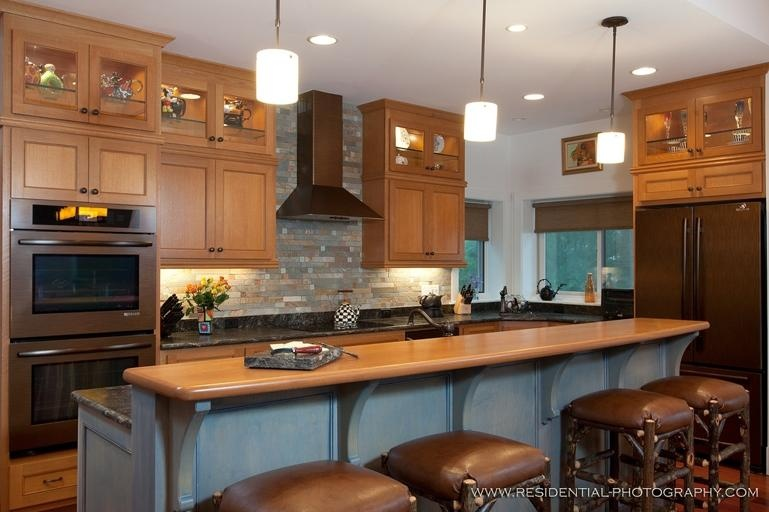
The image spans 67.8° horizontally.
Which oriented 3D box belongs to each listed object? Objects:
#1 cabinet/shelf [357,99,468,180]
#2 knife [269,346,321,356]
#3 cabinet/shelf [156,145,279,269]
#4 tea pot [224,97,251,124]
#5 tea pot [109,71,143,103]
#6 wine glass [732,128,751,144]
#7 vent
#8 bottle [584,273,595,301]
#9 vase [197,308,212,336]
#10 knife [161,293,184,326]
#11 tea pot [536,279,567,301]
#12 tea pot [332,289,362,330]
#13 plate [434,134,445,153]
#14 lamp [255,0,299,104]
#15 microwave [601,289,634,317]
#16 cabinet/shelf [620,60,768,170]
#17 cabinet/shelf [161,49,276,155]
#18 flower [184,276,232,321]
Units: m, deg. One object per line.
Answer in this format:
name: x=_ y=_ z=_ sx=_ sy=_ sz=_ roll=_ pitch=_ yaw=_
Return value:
cabinet/shelf: x=0.253 y=-1.289 z=6.240 sx=0.989 sy=0.566 sz=0.343 roll=0 pitch=-1 yaw=-38
knife: x=-0.451 y=0.485 z=2.951 sx=0.255 sy=0.039 sz=0.086 roll=-2 pitch=0 yaw=-8
cabinet/shelf: x=-1.542 y=-0.446 z=5.146 sx=1.230 sy=0.946 sz=0.458 roll=1 pitch=-4 yaw=-34
tea pot: x=-1.373 y=-1.338 z=5.327 sx=0.282 sy=0.247 sz=0.158 roll=4 pitch=-5 yaw=-40
tea pot: x=-2.031 y=-1.319 z=4.520 sx=0.265 sy=0.212 sz=0.183 roll=2 pitch=-2 yaw=-26
wine glass: x=3.315 y=-1.118 z=5.332 sx=0.152 sy=0.100 sz=0.112 roll=1 pitch=-1 yaw=-26
vent: x=-0.397 y=-0.967 z=6.389 sx=1.239 sy=1.537 sz=1.249 roll=0 pitch=-2 yaw=-35
bottle: x=2.545 y=0.393 z=7.102 sx=0.135 sy=0.334 sz=0.225 roll=-3 pitch=0 yaw=19
vase: x=-1.601 y=0.575 z=5.123 sx=0.121 sy=0.248 sz=0.161 roll=-3 pitch=0 yaw=-18
knife: x=-1.851 y=0.469 z=4.987 sx=0.244 sy=0.282 sz=0.222 roll=6 pitch=4 yaw=37
tea pot: x=2.184 y=0.427 z=7.462 sx=0.362 sy=0.273 sz=0.277 roll=-3 pitch=0 yaw=4
tea pot: x=-0.316 y=0.559 z=5.928 sx=0.272 sy=0.373 sz=0.370 roll=0 pitch=-6 yaw=4
plate: x=0.626 y=-1.279 z=6.524 sx=0.188 sy=0.175 sz=0.042 roll=9 pitch=-1 yaw=-35
lamp: x=-0.687 y=-1.301 z=3.615 sx=0.235 sy=0.689 sz=0.868 roll=-3 pitch=0 yaw=-11
microwave: x=2.599 y=0.519 z=6.403 sx=0.323 sy=0.296 sz=0.307 roll=0 pitch=1 yaw=-31
cabinet/shelf: x=2.996 y=-1.356 z=5.441 sx=1.087 sy=0.634 sz=0.295 roll=-1 pitch=-2 yaw=40
cabinet/shelf: x=-1.487 y=-1.343 z=4.943 sx=0.981 sy=0.588 sz=0.339 roll=2 pitch=-4 yaw=-37
flower: x=-1.589 y=0.377 z=5.258 sx=0.417 sy=0.394 sz=0.412 roll=2 pitch=2 yaw=14
